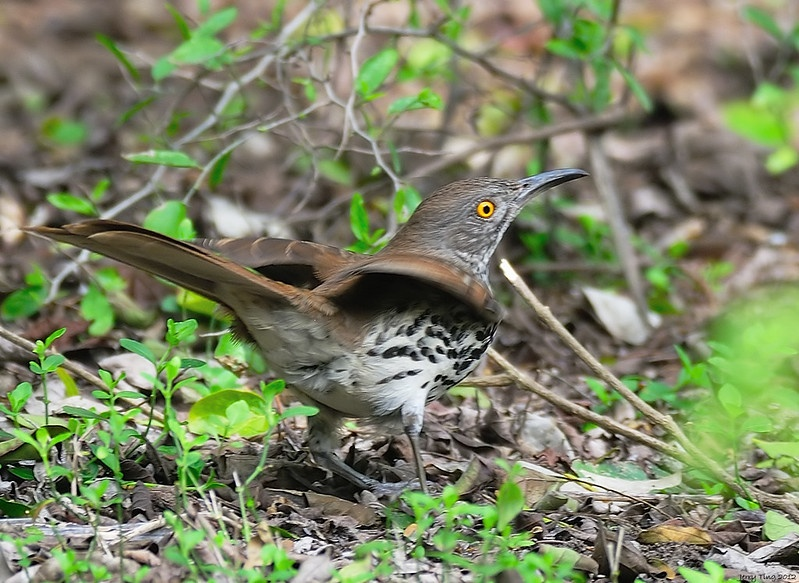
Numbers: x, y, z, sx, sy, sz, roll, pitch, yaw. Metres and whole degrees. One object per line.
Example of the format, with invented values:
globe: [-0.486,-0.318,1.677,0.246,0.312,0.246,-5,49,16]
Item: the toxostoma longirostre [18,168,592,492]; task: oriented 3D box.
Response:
toxostoma longirostre: [-0.317,0.133,3.410,1.834,1.440,0.950,5,8,1]
